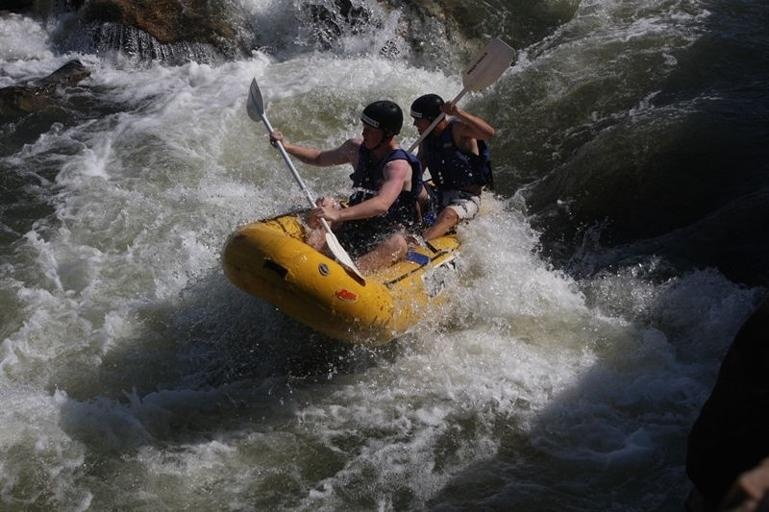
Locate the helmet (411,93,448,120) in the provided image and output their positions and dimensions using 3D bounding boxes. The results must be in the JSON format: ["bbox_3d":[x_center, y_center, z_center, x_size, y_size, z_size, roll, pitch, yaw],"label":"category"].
[{"bbox_3d":[0.521,-1.717,13.142,0.362,0.292,0.270,-28,23,9],"label":"helmet"}]

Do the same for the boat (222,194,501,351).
[{"bbox_3d":[-0.318,0.050,13.515,2.263,0.963,4.046,22,19,23],"label":"boat"}]
